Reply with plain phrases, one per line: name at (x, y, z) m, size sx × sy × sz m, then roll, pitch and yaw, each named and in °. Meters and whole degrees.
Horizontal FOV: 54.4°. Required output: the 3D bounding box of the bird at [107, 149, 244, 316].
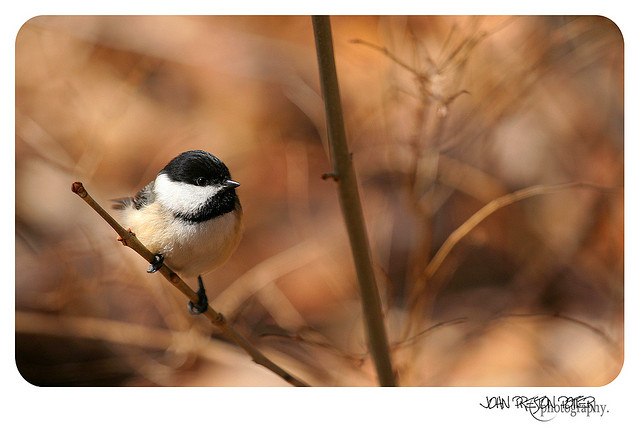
bird at (-0.593, 0.080, 2.376) m, size 0.591 × 0.562 × 0.382 m, roll -4°, pitch -12°, yaw 30°
